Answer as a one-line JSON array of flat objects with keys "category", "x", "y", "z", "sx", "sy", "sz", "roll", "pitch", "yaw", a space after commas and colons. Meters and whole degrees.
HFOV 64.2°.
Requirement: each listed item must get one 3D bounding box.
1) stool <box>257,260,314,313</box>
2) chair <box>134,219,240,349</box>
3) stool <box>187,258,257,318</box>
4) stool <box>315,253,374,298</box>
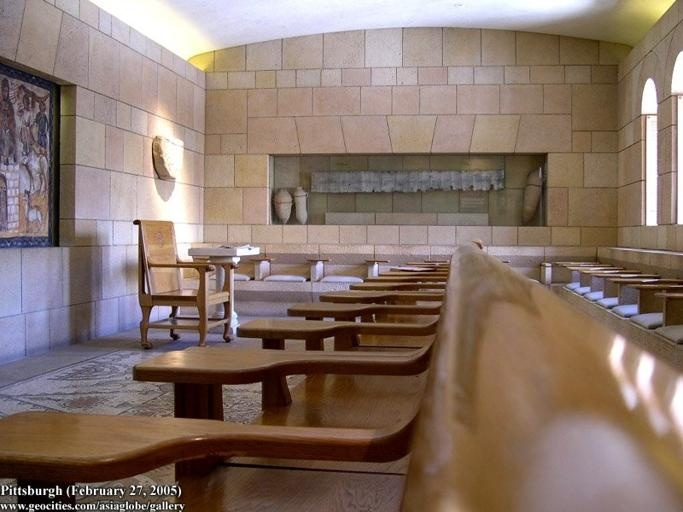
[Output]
[{"category": "stool", "x": -0.708, "y": 0.358, "z": 7.156, "sx": 0.926, "sy": 0.766, "sz": 0.880, "roll": 1, "pitch": 1, "yaw": -15}, {"category": "chair", "x": -1.479, "y": 0.271, "z": 5.245, "sx": 0.786, "sy": 1.136, "sz": 0.813, "roll": 2, "pitch": 1, "yaw": 3}, {"category": "stool", "x": -1.300, "y": 0.288, "z": 5.861, "sx": 0.665, "sy": 0.929, "sz": 0.660, "roll": 0, "pitch": 1, "yaw": -2}, {"category": "stool", "x": 0.064, "y": 0.250, "z": 7.151, "sx": 0.816, "sy": 0.722, "sz": 0.643, "roll": 1, "pitch": -4, "yaw": 8}]
